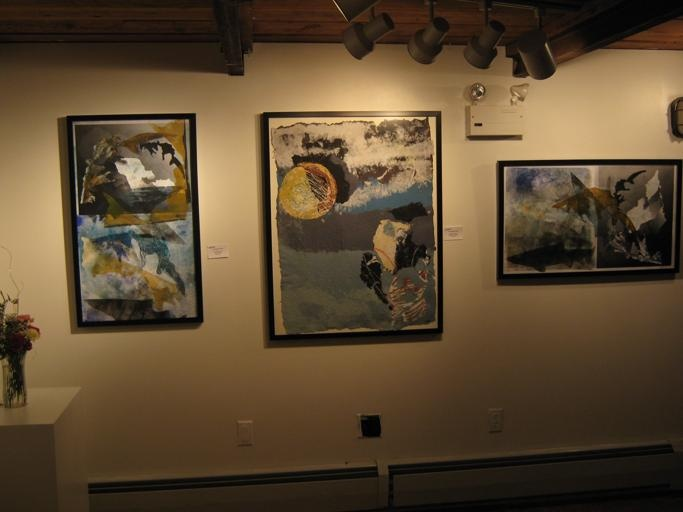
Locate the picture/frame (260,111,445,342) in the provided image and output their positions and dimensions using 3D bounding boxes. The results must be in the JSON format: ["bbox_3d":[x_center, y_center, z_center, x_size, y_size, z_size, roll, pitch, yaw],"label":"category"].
[{"bbox_3d":[0.019,-0.270,4.145,1.531,2.014,0.071,-1,5,-2],"label":"picture/frame"}]
